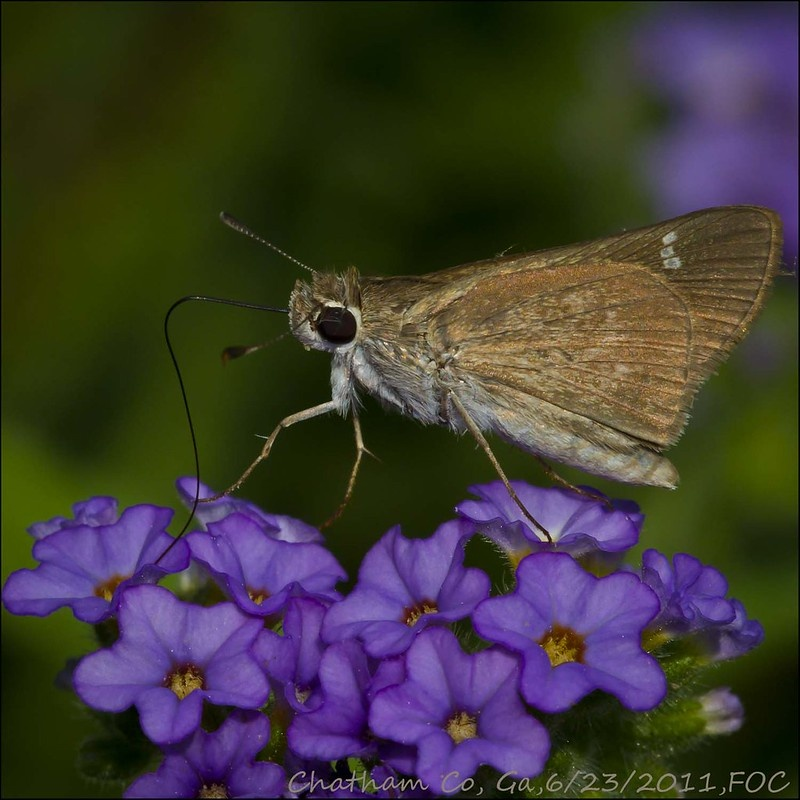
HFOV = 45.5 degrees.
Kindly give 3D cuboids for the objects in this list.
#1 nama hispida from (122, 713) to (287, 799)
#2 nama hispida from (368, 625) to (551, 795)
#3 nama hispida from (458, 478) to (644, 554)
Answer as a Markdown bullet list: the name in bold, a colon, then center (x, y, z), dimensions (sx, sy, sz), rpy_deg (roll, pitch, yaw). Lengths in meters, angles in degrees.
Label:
- **nama hispida**: center (-0.527, 1.025, 2.643), dimensions (0.430, 0.199, 0.244), rpy_deg (3, -66, -7)
- **nama hispida**: center (0.156, 0.841, 2.586), dimensions (0.462, 0.372, 0.241), rpy_deg (12, -68, -10)
- **nama hispida**: center (0.564, 0.418, 3.286), dimensions (0.372, 0.382, 0.127), rpy_deg (2, -83, -42)
